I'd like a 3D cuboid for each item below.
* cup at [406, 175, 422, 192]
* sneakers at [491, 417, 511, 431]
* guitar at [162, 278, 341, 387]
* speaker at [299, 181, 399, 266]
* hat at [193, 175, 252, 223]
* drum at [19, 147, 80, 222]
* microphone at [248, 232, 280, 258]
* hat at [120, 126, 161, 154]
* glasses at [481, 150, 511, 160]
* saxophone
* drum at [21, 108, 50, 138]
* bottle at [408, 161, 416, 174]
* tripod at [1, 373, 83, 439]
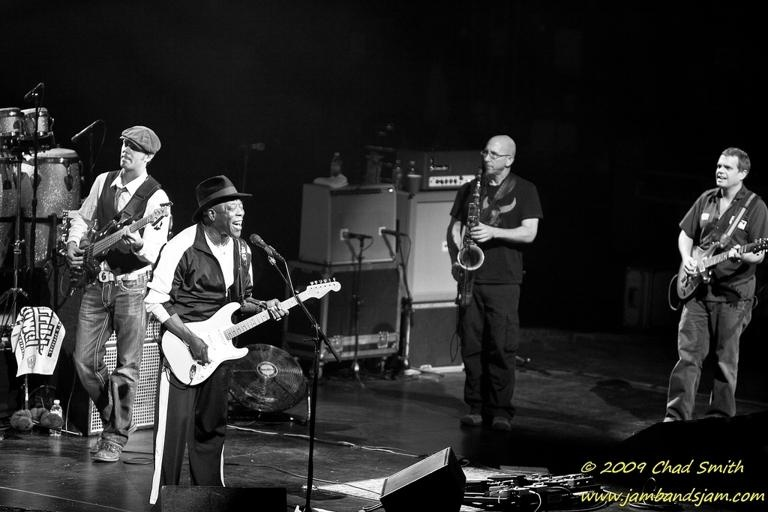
[{"bbox_3d":[0.373,-0.888,9.952,0.183,0.223,0.192,2,7,0],"label":"cup"},{"bbox_3d":[1.188,1.684,8.160,0.191,0.119,0.112,0,6,-3],"label":"sneakers"},{"bbox_3d":[-1.129,0.695,7.157,1.267,0.426,0.177,-30,-1,-21],"label":"guitar"},{"bbox_3d":[-0.434,-0.407,9.961,1.403,1.353,0.819,1,4,-34],"label":"speaker"},{"bbox_3d":[-1.267,-0.418,6.098,0.400,0.212,0.362,-19,0,15],"label":"hat"},{"bbox_3d":[-3.443,-0.719,8.293,0.588,0.847,0.641,0,3,0],"label":"drum"},{"bbox_3d":[-1.496,-0.142,9.937,0.429,0.124,0.126,41,34,10],"label":"microphone"},{"bbox_3d":[-2.156,-1.032,7.253,0.340,0.167,0.250,26,17,-32],"label":"hat"},{"bbox_3d":[1.136,-1.011,8.117,0.269,0.096,0.101,2,7,13],"label":"glasses"},{"bbox_3d":[0.876,-0.174,8.184,0.283,1.340,0.402,4,8,9],"label":"saxophone"},{"bbox_3d":[-3.352,-1.299,7.848,0.271,0.294,0.419,-4,8,-35],"label":"drum"},{"bbox_3d":[0.356,-1.108,10.127,0.017,0.150,0.107,-5,8,-41],"label":"bottle"},{"bbox_3d":[-3.288,1.408,7.894,0.535,0.685,0.676,-1,-2,14],"label":"tripod"}]
